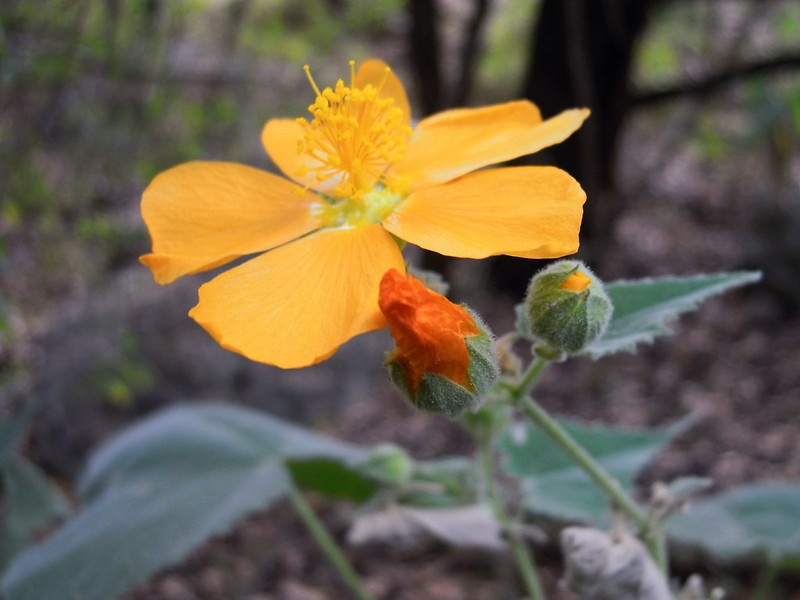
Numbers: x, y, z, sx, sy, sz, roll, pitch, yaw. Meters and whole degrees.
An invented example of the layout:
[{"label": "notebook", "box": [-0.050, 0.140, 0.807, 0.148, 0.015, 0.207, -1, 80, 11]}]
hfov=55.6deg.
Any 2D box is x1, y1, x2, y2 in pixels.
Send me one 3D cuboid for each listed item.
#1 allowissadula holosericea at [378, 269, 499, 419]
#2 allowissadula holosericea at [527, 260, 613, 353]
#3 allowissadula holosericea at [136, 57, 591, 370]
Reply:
[{"label": "allowissadula holosericea", "box": [0.038, 0.046, 0.989, 0.179, 0.140, 0.091, 52, 10, -15]}, {"label": "allowissadula holosericea", "box": [0.211, 0.012, 1.047, 0.104, 0.127, 0.127, 0, 63, 2]}, {"label": "allowissadula holosericea", "box": [-0.010, -0.129, 1.130, 0.513, 0.226, 0.622, 20, -9, -33]}]
